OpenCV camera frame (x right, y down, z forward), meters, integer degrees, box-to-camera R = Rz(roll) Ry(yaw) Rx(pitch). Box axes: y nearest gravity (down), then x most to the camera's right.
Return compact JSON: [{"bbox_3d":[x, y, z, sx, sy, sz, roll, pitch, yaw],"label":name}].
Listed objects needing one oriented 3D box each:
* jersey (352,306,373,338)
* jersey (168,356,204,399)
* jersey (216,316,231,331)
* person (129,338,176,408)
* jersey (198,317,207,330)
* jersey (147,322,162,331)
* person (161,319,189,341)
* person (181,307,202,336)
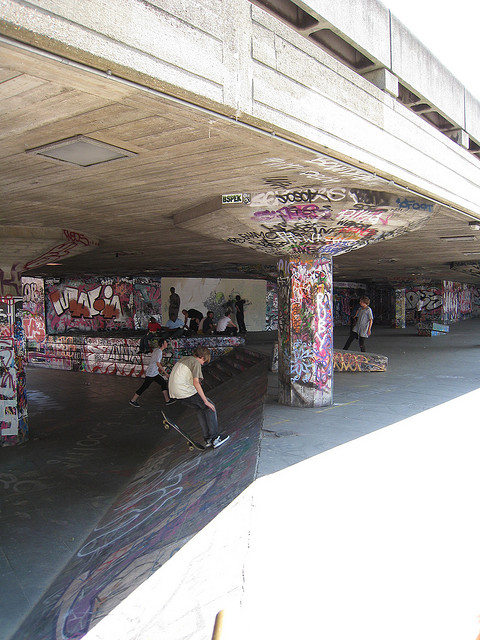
[{"bbox_3d":[3.592,0.068,12.556,0.316,0.665,0.603,-8,3,-23],"label":"jersey"},{"bbox_3d":[-0.886,0.891,6.586,0.406,0.632,0.707,7,-13,-43],"label":"jersey"},{"bbox_3d":[-0.715,0.184,17.570,0.505,0.717,0.753,23,-2,-1],"label":"jersey"},{"bbox_3d":[-2.768,1.712,13.684,1.620,2.110,0.855,1,42,-9],"label":"person"},{"bbox_3d":[-2.605,0.284,28.520,0.208,0.737,0.841,7,1,-34],"label":"jersey"},{"bbox_3d":[-3.587,0.306,17.889,0.678,0.464,0.321,0,0,-3],"label":"jersey"},{"bbox_3d":[-2.721,0.416,17.179,0.938,0.763,1.427,-7,2,-10],"label":"person"},{"bbox_3d":[-2.722,0.083,23.471,1.150,1.451,0.967,7,-31,-15],"label":"person"}]
